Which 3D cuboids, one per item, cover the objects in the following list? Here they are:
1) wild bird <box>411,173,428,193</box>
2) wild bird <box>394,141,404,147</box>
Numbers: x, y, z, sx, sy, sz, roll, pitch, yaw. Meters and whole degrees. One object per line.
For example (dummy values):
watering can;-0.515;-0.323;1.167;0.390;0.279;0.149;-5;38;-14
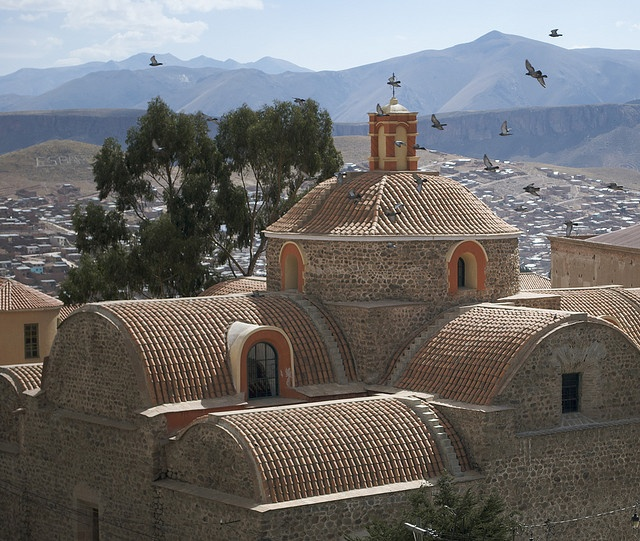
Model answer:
wild bird;3.238;-2.847;33.197;0.501;0.602;1.652;1;5;6
wild bird;2.630;-4.264;33.886;0.164;0.242;0.385;-2;-3;44
